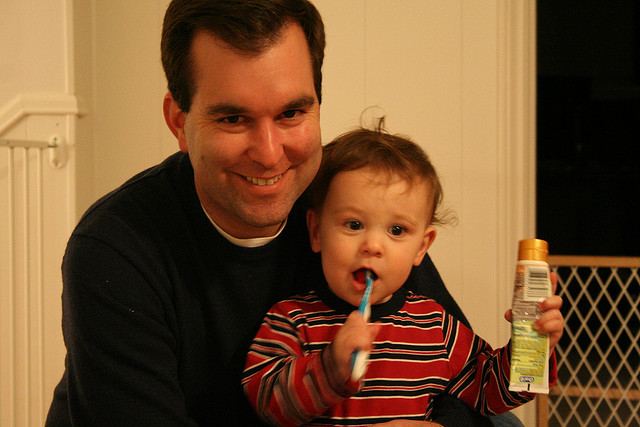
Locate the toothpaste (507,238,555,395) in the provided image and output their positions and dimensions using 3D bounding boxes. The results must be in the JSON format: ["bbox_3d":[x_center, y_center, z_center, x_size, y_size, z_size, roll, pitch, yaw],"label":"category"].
[{"bbox_3d":[0.664,0.329,2.052,0.140,0.496,0.111,2,-5,-7],"label":"toothpaste"}]

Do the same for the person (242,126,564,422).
[{"bbox_3d":[0.419,0.218,2.590,1.068,1.394,0.942,1,-3,-26],"label":"person"}]
